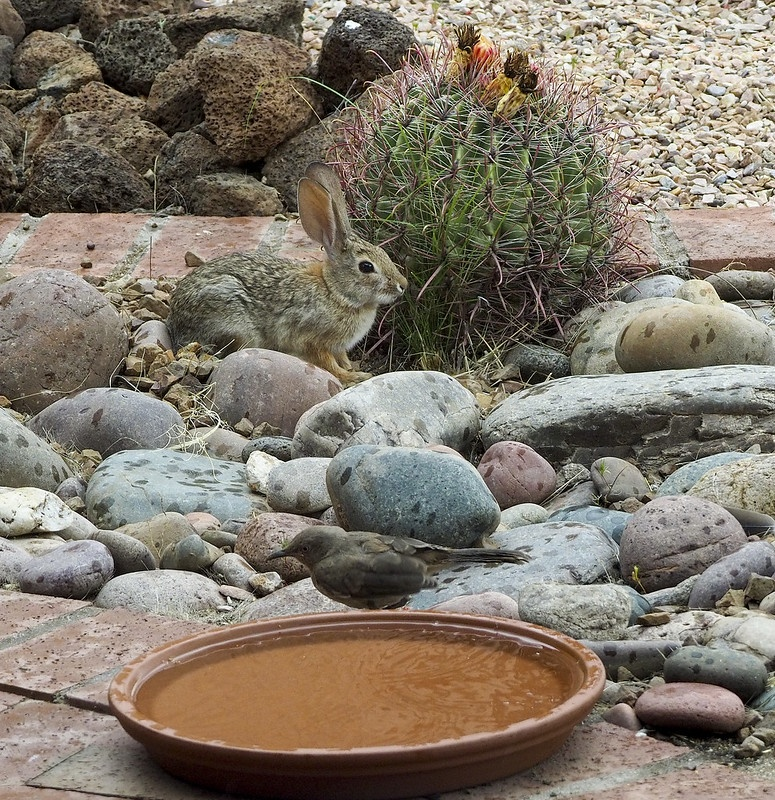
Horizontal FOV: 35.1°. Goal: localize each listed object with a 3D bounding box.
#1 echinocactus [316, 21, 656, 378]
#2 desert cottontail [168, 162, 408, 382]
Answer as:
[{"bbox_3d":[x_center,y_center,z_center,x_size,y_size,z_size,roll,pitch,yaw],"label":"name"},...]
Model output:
[{"bbox_3d":[0.438,-0.843,5.711,1.343,1.581,0.723,7,18,5],"label":"echinocactus"},{"bbox_3d":[-0.399,-0.598,5.973,1.394,0.894,0.691,8,13,40],"label":"desert cottontail"}]
